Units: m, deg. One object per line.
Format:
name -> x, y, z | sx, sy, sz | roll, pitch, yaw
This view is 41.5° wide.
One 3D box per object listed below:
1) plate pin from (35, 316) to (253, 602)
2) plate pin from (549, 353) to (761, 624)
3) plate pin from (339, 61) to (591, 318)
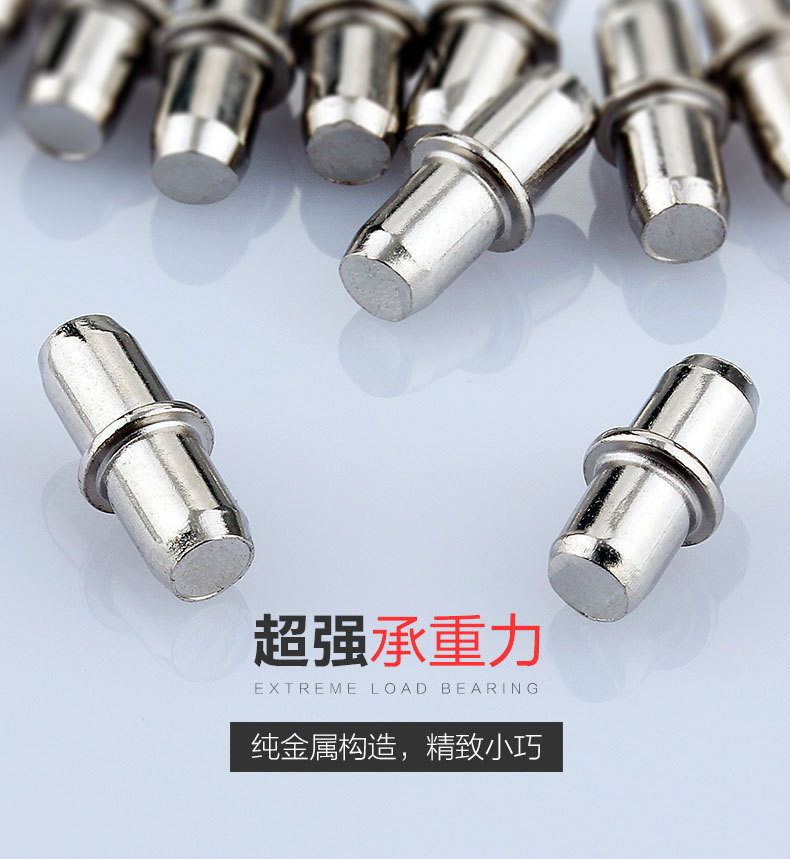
plate pin -> -0.266, 0.017, 1.097 | 0.156, 0.147, 0.315 | -28, 61, -17
plate pin -> 0.269, 0.052, 1.092 | 0.147, 0.142, 0.307 | 5, 46, 41
plate pin -> 0.093, -0.287, 1.257 | 0.172, 0.157, 0.362 | 24, 55, 15
